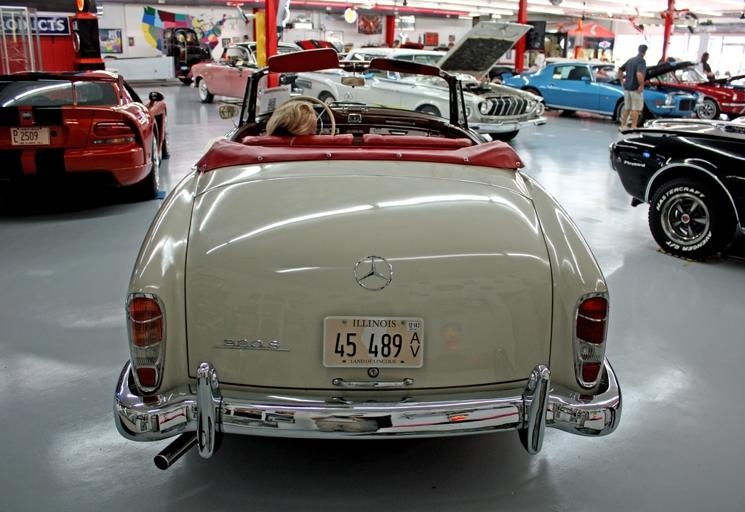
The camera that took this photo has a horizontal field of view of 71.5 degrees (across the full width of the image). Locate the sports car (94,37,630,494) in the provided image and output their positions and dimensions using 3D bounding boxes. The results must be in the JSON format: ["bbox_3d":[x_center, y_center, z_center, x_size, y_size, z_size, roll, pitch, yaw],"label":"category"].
[{"bbox_3d":[0.083,-0.340,4.016,2.259,1.905,4.226,1,15,2],"label":"sports car"}]
